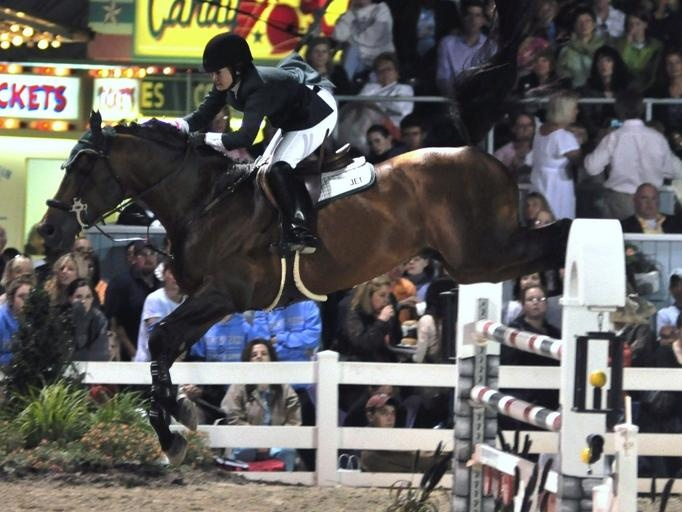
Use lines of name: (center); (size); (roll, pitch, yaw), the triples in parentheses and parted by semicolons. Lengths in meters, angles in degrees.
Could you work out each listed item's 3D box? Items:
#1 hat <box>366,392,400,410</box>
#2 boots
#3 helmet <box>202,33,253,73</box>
hat: (0.314, 1.311, 13.725); (0.219, 0.076, 0.152); (-4, 6, 17)
boots: (-0.424, -0.401, 12.314); (0.377, 0.699, 0.447); (-8, -5, -40)
helmet: (-0.953, -1.649, 12.118); (0.397, 0.214, 0.273); (-10, 7, -36)
